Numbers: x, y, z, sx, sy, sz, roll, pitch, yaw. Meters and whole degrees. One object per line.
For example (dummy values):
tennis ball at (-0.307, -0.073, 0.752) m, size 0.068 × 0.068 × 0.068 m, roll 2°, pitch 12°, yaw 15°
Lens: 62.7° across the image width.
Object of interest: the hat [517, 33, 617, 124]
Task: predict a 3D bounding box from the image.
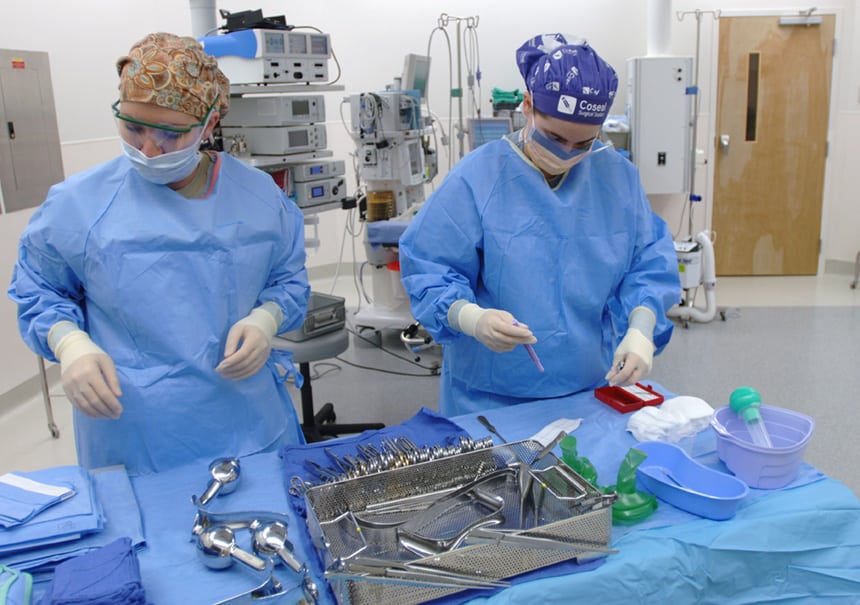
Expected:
hat at (0.362, -0.599, 1.965) m, size 0.212 × 0.138 × 0.296 m, roll -7°, pitch 47°, yaw -11°

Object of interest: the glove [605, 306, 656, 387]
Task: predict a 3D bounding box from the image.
glove at (0.558, 0.131, 1.978) m, size 0.122 × 0.094 × 0.217 m, roll -18°, pitch 47°, yaw 36°

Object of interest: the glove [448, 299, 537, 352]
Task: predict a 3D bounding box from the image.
glove at (0.166, 0.071, 1.916) m, size 0.094 × 0.131 × 0.276 m, roll -14°, pitch 17°, yaw -39°

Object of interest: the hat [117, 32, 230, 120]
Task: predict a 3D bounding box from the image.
hat at (-0.701, -0.561, 1.874) m, size 0.248 × 0.219 × 0.199 m, roll -3°, pitch 6°, yaw 32°

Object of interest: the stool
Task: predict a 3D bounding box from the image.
stool at (-0.493, 0.409, 3.510) m, size 0.501 × 0.535 × 0.511 m, roll -1°, pitch 11°, yaw -1°
